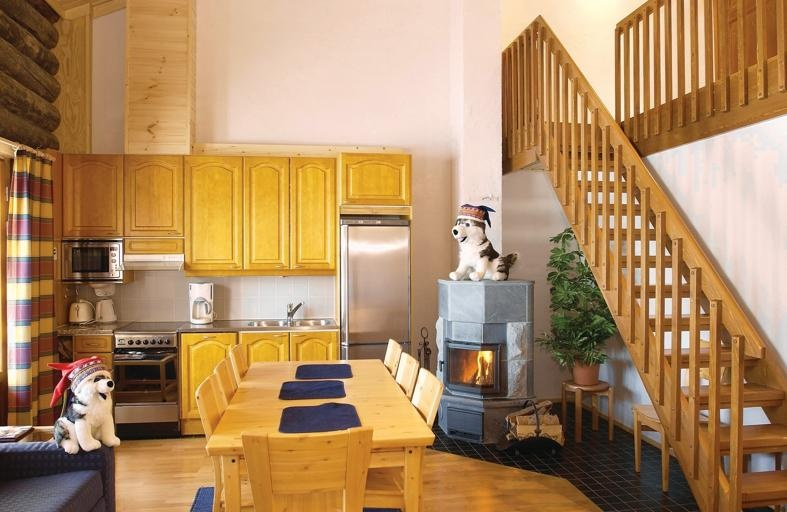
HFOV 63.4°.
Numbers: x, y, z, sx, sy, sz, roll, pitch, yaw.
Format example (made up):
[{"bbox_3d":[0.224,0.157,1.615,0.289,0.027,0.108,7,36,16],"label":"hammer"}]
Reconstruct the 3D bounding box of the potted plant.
[{"bbox_3d":[2.051,0.555,7.132,0.810,1.744,0.435,-2,-4,15],"label":"potted plant"}]

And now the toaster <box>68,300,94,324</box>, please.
[{"bbox_3d":[-3.507,0.625,7.153,0.258,0.254,0.268,1,7,-22],"label":"toaster"}]

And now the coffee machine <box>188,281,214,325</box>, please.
[{"bbox_3d":[-2.214,0.545,7.292,0.267,0.467,0.244,0,-4,-12],"label":"coffee machine"}]

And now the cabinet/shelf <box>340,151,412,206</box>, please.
[{"bbox_3d":[-0.233,-0.861,7.544,1.061,0.754,0.559,0,-2,-10],"label":"cabinet/shelf"}]

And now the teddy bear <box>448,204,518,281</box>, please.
[{"bbox_3d":[1.049,-0.131,7.178,0.906,0.812,0.687,4,-2,-25],"label":"teddy bear"}]

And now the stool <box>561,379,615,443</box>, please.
[{"bbox_3d":[2.146,1.689,7.155,0.648,0.728,0.600,0,0,-13],"label":"stool"}]

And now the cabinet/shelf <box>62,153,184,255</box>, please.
[{"bbox_3d":[-3.091,-0.579,7.103,1.194,1.043,0.414,0,-1,-4],"label":"cabinet/shelf"}]

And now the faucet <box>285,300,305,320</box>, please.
[{"bbox_3d":[-1.164,0.641,7.529,0.193,0.217,0.267,0,-4,-9],"label":"faucet"}]

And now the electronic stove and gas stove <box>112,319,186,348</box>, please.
[{"bbox_3d":[-2.741,0.885,7.129,0.673,0.292,0.643,0,-4,-13],"label":"electronic stove and gas stove"}]

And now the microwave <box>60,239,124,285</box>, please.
[{"bbox_3d":[-3.360,0.056,7.116,0.723,0.509,0.447,0,-3,-11],"label":"microwave"}]

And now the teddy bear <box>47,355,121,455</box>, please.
[{"bbox_3d":[-2.550,1.227,5.271,0.530,0.696,0.441,-2,-5,-21],"label":"teddy bear"}]

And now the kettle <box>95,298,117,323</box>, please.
[{"bbox_3d":[-3.287,0.628,7.255,0.205,0.266,0.276,5,6,37],"label":"kettle"}]

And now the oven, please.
[{"bbox_3d":[-2.755,1.493,7.033,0.619,0.925,0.714,1,1,-16],"label":"oven"}]
